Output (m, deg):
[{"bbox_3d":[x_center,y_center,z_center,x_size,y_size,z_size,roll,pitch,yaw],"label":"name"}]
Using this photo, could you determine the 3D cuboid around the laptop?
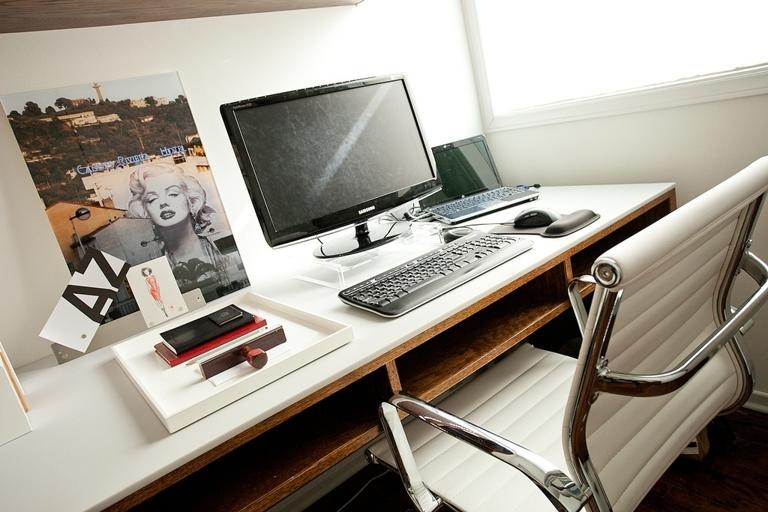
[{"bbox_3d":[0.374,-0.331,2.073,0.596,0.313,0.416,-24,20,-30],"label":"laptop"}]

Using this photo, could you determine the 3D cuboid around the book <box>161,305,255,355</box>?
[{"bbox_3d":[-0.495,0.207,1.326,0.220,0.034,0.135,-24,30,-35],"label":"book"}]

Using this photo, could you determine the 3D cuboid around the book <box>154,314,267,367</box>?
[{"bbox_3d":[-0.478,0.207,1.284,0.235,0.024,0.156,-22,33,-31],"label":"book"}]

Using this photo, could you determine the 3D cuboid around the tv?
[{"bbox_3d":[-0.218,-0.314,1.668,0.706,0.493,0.247,-23,16,-28],"label":"tv"}]
